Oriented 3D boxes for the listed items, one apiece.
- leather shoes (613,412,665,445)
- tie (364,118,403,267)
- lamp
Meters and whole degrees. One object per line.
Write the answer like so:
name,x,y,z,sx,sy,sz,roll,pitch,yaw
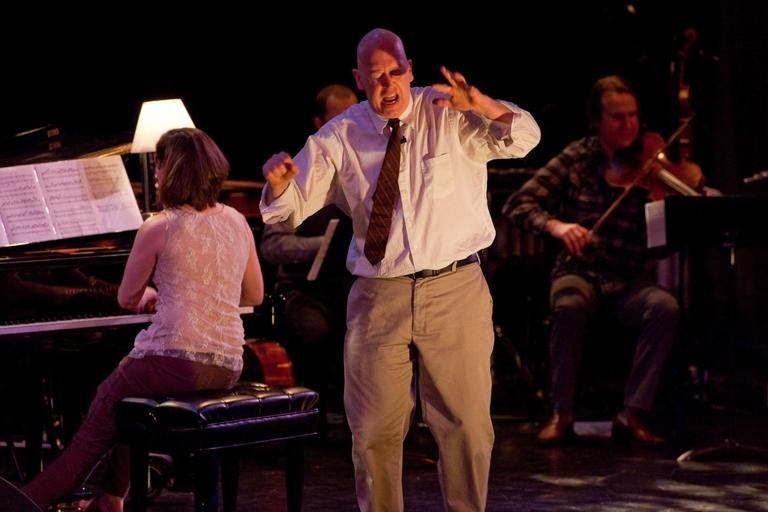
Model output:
leather shoes,1.780,1.240,5.970,0.444,0.178,0.150,-2,1,35
tie,0.004,-0.285,3.946,0.130,0.700,0.036,10,1,0
lamp,-1.444,-0.833,5.471,0.548,0.345,0.518,-2,-10,-19
